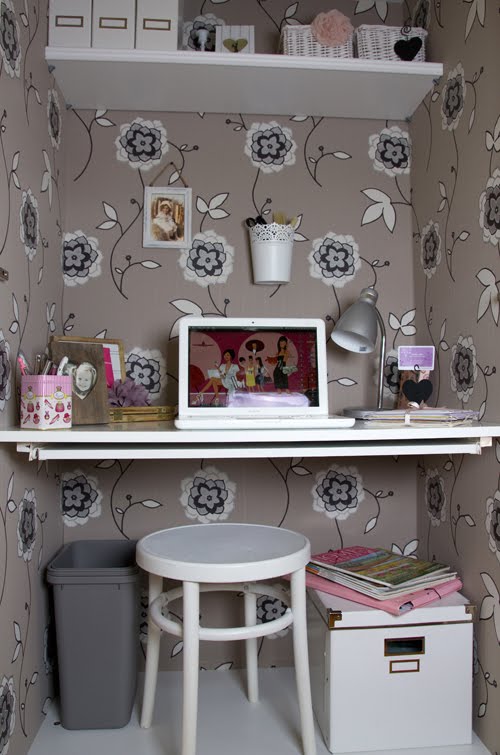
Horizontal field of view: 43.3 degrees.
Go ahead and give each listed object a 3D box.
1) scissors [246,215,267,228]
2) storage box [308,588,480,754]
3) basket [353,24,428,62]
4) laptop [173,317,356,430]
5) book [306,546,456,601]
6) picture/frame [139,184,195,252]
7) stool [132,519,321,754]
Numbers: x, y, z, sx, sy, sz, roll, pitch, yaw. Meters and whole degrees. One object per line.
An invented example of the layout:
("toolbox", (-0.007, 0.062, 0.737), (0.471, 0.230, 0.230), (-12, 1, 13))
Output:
("scissors", (0.017, -0.429, 1.743), (0.040, 0.027, 0.061), (-3, 2, 8))
("storage box", (0.311, 0.638, 1.374), (0.237, 0.276, 0.344), (0, -8, -3))
("basket", (0.371, -0.827, 1.622), (0.145, 0.080, 0.111), (-1, 13, -4))
("laptop", (0.017, -0.023, 1.397), (0.346, 0.286, 0.262), (0, -5, -5))
("book", (0.308, 0.469, 1.489), (0.164, 0.039, 0.166), (3, 3, 42))
("picture/frame", (-0.240, -0.442, 1.768), (0.161, 0.223, 0.010), (0, -4, -7))
("stool", (-0.066, 0.581, 1.405), (0.360, 0.470, 0.465), (-1, 2, -13))
